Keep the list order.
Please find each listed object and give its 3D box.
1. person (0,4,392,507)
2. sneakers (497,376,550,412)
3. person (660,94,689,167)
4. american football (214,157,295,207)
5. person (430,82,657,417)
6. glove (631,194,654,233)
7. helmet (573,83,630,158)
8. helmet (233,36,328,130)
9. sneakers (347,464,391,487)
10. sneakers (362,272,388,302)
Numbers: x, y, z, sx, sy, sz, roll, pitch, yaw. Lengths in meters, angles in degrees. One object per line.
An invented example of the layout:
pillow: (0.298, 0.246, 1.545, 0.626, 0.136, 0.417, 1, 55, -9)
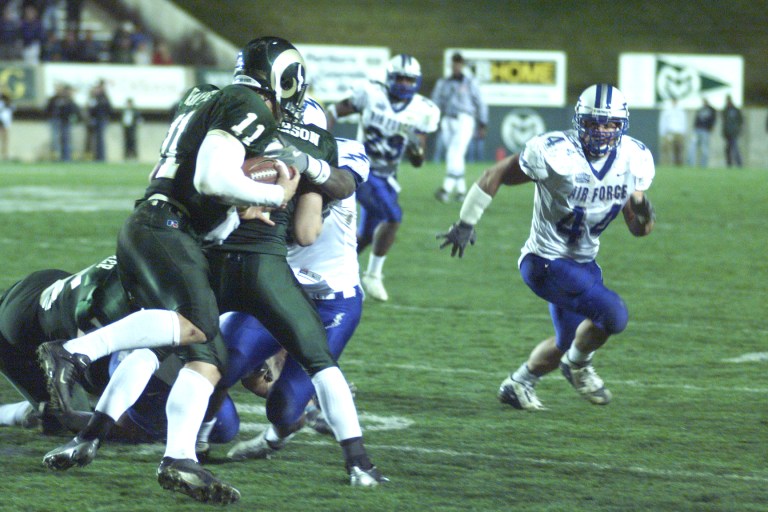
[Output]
person: (-0.910, 0.012, 5.493, 1.597, 2.375, 0.740, 1, 3, -19)
sneakers: (0.794, 0.806, 6.377, 0.351, 0.158, 0.121, 20, 20, -6)
person: (5.301, -2.250, 19.768, 0.518, 1.198, 1.485, 3, 3, 14)
american football: (-0.660, -0.380, 5.507, 0.325, 0.112, 0.243, 14, -21, -26)
person: (1.046, -0.068, 6.430, 1.082, 1.927, 0.420, 3, 3, 13)
glove: (1.537, -0.260, 6.365, 0.106, 0.203, 0.083, -6, 2, 40)
helmet: (1.246, -0.814, 6.381, 0.322, 0.398, 0.420, 3, 9, 12)
helmet: (-0.566, -1.006, 5.980, 0.495, 0.489, 0.355, -6, 15, -23)
sneakers: (-0.082, 1.121, 5.472, 0.231, 0.089, 0.082, 2, -4, -16)
sneakers: (-0.065, 0.250, 8.385, 0.110, 0.145, 0.313, 1, 30, -40)
